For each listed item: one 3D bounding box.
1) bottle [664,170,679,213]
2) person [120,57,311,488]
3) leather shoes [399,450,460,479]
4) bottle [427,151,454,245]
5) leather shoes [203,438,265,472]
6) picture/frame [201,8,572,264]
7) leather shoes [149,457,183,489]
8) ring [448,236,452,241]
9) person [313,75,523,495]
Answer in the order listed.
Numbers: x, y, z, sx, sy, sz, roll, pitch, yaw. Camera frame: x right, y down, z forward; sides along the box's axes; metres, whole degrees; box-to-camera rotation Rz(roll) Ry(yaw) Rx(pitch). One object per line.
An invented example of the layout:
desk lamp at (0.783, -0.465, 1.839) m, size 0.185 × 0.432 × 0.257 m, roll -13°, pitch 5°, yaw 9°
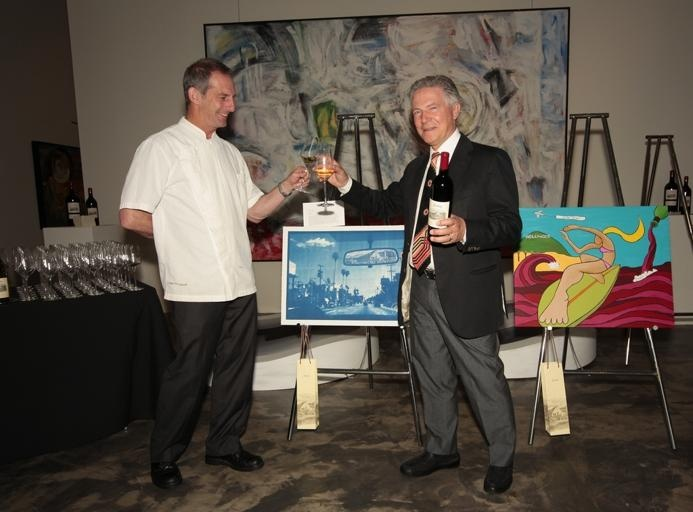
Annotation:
bottle at (3.399, -0.677, 5.374) m, size 0.147 × 0.450 × 0.329 m, roll 3°, pitch 10°, yaw 31°
person at (-0.878, 0.100, 3.228) m, size 0.936 × 2.592 × 0.405 m, roll -6°, pitch 9°, yaw -25°
leather shoes at (0.517, 1.305, 3.276) m, size 0.400 × 0.159 × 0.143 m, roll 0°, pitch -4°, yaw -7°
bottle at (0.531, -0.370, 2.893) m, size 0.128 × 0.409 × 0.375 m, roll 0°, pitch 8°, yaw 11°
leather shoes at (-0.738, 1.310, 3.393) m, size 0.354 × 0.162 × 0.153 m, roll 0°, pitch -1°, yaw 5°
picture/frame at (0.488, -1.198, 4.531) m, size 2.745 × 1.934 × 0.044 m, roll -1°, pitch 5°, yaw 11°
leather shoes at (-1.156, 1.370, 3.250) m, size 0.097 × 0.111 × 0.261 m, roll 4°, pitch -7°, yaw -34°
ring at (0.569, -0.096, 2.827) m, size 0.014 × 0.020 × 0.006 m, roll 0°, pitch -5°, yaw 42°
person at (0.641, 0.172, 3.094) m, size 0.742 × 2.470 × 0.524 m, roll 2°, pitch 9°, yaw 24°
